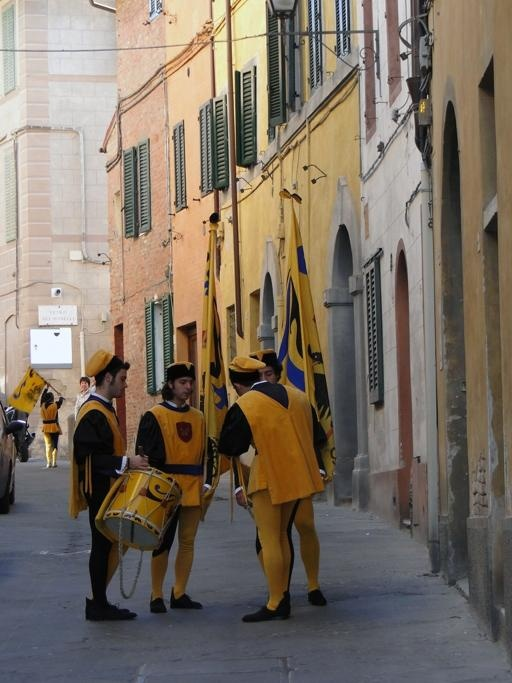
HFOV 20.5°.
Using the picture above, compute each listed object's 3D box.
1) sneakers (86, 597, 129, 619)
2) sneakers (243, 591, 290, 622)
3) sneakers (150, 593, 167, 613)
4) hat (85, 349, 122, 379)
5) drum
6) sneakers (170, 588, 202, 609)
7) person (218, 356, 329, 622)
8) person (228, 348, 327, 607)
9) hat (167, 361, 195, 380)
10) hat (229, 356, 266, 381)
[{"bbox_3d":[-0.836,1.508,7.999,0.260,0.158,0.106,0,-2,-3],"label":"sneakers"},{"bbox_3d":[0.074,1.488,7.892,0.294,0.231,0.117,-1,-10,0],"label":"sneakers"},{"bbox_3d":[-0.575,1.545,8.288,0.070,0.097,0.249,0,-9,-4],"label":"sneakers"},{"bbox_3d":[-0.877,0.116,8.028,0.120,0.186,0.089,35,0,25],"label":"hat"},{"bbox_3d":[-0.525,0.927,7.852,0.252,0.304,0.278,20,-9,0],"label":"drum"},{"bbox_3d":[-0.426,1.555,8.464,0.202,0.169,0.082,1,-5,1],"label":"sneakers"},{"bbox_3d":[0.097,0.828,8.088,0.486,1.518,0.696,-4,-6,28],"label":"person"},{"bbox_3d":[0.165,0.781,8.357,0.499,1.662,0.452,-9,14,-14],"label":"person"},{"bbox_3d":[-0.443,0.178,8.244,0.104,0.086,0.113,-4,-3,31],"label":"hat"},{"bbox_3d":[-0.054,0.158,8.188,0.138,0.113,0.141,4,2,21],"label":"hat"}]
